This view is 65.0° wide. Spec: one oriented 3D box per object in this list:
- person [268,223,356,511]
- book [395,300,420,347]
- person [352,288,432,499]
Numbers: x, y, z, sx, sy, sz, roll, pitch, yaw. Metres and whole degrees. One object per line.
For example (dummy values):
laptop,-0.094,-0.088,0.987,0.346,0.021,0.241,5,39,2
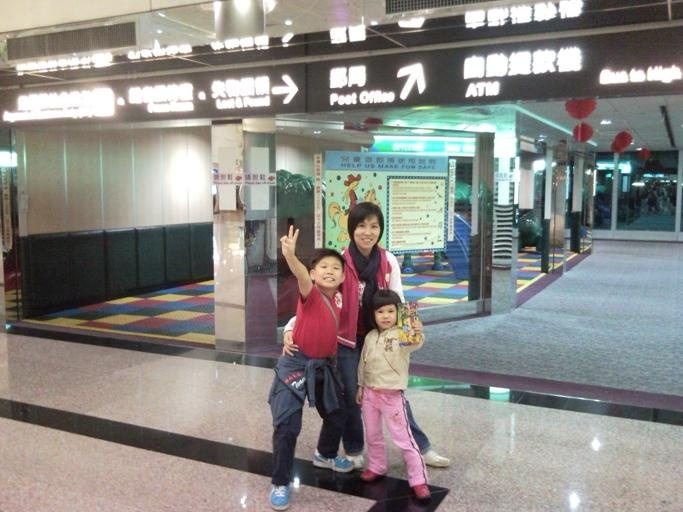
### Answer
person,-0.275,0.684,3.552,0.673,1.728,0.350,-8,11,-41
book,0.420,0.438,3.418,0.130,0.281,0.094,0,8,4
person,0.353,0.879,3.579,0.539,1.303,0.328,3,9,22
